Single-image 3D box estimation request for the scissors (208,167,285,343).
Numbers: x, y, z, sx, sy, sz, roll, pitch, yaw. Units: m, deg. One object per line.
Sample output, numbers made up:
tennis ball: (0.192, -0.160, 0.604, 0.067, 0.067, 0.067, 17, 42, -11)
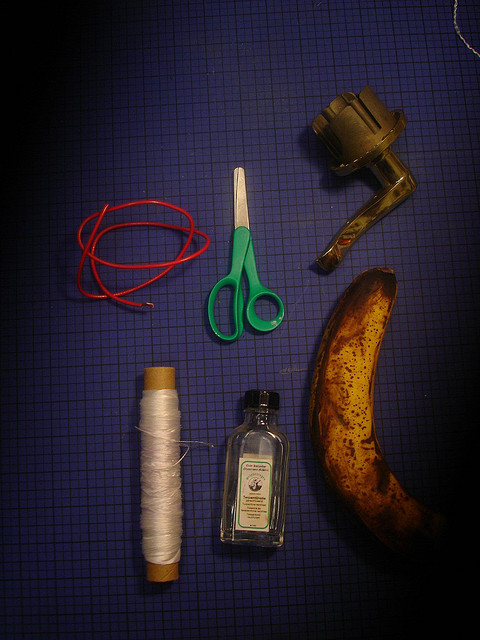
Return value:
scissors: (0.002, -0.106, 1.269, 0.126, 0.024, 0.262, -3, 89, -31)
